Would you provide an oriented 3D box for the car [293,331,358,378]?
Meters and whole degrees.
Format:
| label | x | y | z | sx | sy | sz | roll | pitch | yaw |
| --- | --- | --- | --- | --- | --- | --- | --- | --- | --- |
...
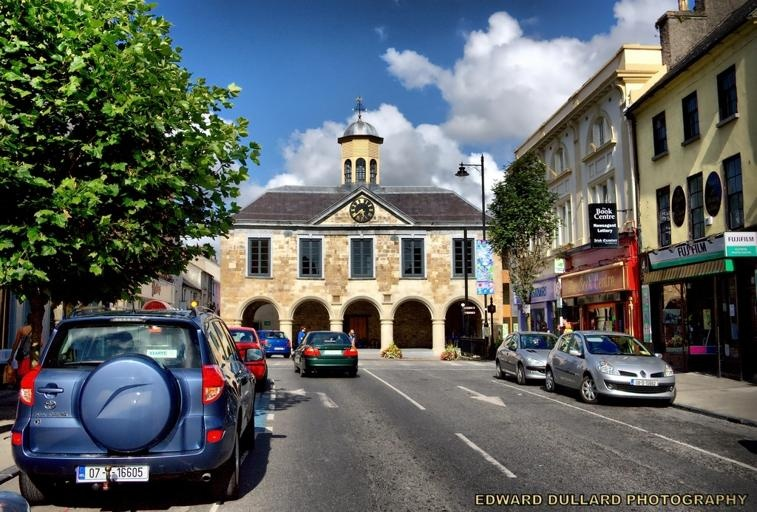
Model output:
| label | x | y | z | sx | sy | sz | roll | pitch | yaw |
| --- | --- | --- | --- | --- | --- | --- | --- | --- | --- |
| car | -2.027 | 3.641 | 24.250 | 1.769 | 1.706 | 2.583 | 1 | -3 | -30 |

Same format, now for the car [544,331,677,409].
| label | x | y | z | sx | sy | sz | roll | pitch | yaw |
| --- | --- | --- | --- | --- | --- | --- | --- | --- | --- |
| car | 6.160 | 3.041 | 18.136 | 2.056 | 1.799 | 3.399 | 1 | -3 | -22 |

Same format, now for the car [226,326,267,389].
| label | x | y | z | sx | sy | sz | roll | pitch | yaw |
| --- | --- | --- | --- | --- | --- | --- | --- | --- | --- |
| car | -4.056 | 3.121 | 20.013 | 1.437 | 1.388 | 3.614 | 0 | -1 | -2 |

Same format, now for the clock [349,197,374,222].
| label | x | y | z | sx | sy | sz | roll | pitch | yaw |
| --- | --- | --- | --- | --- | --- | --- | --- | --- | --- |
| clock | -1.446 | -3.396 | 49.876 | 1.531 | 1.949 | 0.310 | 5 | -6 | -9 |

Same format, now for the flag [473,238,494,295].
| label | x | y | z | sx | sy | sz | roll | pitch | yaw |
| --- | --- | --- | --- | --- | --- | --- | --- | --- | --- |
| flag | 5.901 | 0.614 | 37.325 | 0.886 | 3.052 | 2.147 | 0 | -2 | 6 |

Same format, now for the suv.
| label | x | y | z | sx | sy | sz | roll | pitch | yaw |
| --- | --- | --- | --- | --- | --- | --- | --- | --- | --- |
| suv | -3.396 | 2.163 | 9.411 | 3.123 | 2.735 | 1.746 | 1 | -3 | -28 |

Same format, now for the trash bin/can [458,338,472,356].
| label | x | y | z | sx | sy | sz | roll | pitch | yaw |
| --- | --- | --- | --- | --- | --- | --- | --- | --- | --- |
| trash bin/can | 5.340 | 5.662 | 40.758 | 0.877 | 1.305 | 0.884 | -2 | 0 | -35 |
